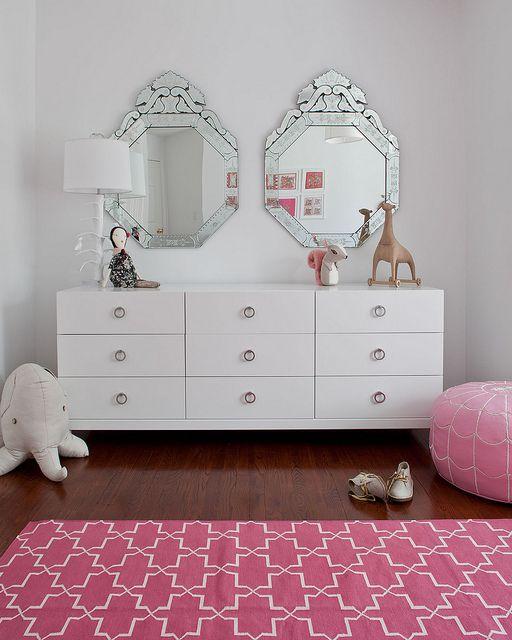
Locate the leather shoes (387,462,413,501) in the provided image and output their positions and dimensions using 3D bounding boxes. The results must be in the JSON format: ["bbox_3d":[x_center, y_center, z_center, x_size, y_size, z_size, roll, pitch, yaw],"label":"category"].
[{"bbox_3d":[0.442,0.516,1.691,0.063,0.053,0.138,-4,0,16],"label":"leather shoes"}]

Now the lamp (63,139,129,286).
[{"bbox_3d":[-0.682,-0.467,2.297,0.261,0.642,0.339,-2,6,-17],"label":"lamp"}]

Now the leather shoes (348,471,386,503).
[{"bbox_3d":[0.344,0.525,1.683,0.052,0.061,0.119,0,1,-24],"label":"leather shoes"}]

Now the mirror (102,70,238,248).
[{"bbox_3d":[-0.397,-0.727,2.532,0.650,0.789,0.016,-5,15,-20],"label":"mirror"}]

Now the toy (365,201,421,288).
[{"bbox_3d":[0.622,-0.357,2.441,0.222,0.398,0.384,1,6,15],"label":"toy"}]

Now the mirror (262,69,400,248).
[{"bbox_3d":[0.349,-0.810,2.545,0.891,1.143,0.023,-1,3,-1],"label":"mirror"}]

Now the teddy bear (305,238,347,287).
[{"bbox_3d":[0.303,-0.251,2.357,0.083,0.195,0.197,-11,18,-42],"label":"teddy bear"}]

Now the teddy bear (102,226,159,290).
[{"bbox_3d":[-0.531,-0.268,2.335,0.223,0.256,0.134,1,17,-13],"label":"teddy bear"}]

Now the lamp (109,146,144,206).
[{"bbox_3d":[-0.565,-0.671,2.525,0.233,0.251,0.231,-1,3,-2],"label":"lamp"}]
